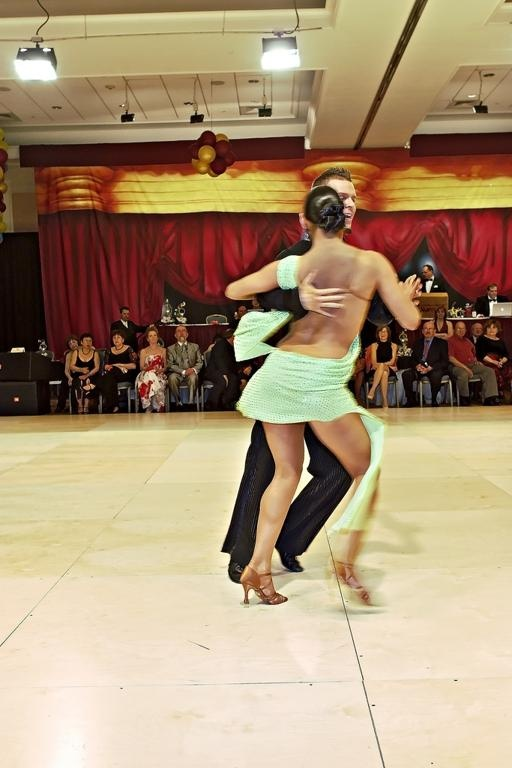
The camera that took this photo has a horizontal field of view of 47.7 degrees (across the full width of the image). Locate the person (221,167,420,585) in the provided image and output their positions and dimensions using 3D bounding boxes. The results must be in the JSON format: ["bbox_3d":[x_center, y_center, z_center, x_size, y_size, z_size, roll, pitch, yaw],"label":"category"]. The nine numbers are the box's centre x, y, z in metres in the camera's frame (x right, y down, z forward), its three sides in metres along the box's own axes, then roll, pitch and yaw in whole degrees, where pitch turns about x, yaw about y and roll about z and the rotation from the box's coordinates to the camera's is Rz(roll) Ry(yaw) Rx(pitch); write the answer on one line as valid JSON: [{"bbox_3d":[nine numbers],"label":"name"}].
[{"bbox_3d":[0.222,0.046,2.044,0.670,1.416,0.383,5,-3,-1],"label":"person"}]

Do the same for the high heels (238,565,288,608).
[{"bbox_3d":[0.010,0.691,2.016,0.231,0.169,0.092,2,-2,-26],"label":"high heels"}]

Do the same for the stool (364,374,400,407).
[{"bbox_3d":[2.229,0.098,10.240,0.606,0.715,0.607,0,3,16],"label":"stool"}]

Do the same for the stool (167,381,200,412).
[{"bbox_3d":[-1.283,0.239,10.458,0.670,0.592,0.473,0,-6,-2],"label":"stool"}]

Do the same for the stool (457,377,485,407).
[{"bbox_3d":[3.737,0.127,10.264,0.553,0.585,0.530,-2,-12,8],"label":"stool"}]

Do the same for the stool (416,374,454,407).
[{"bbox_3d":[3.162,0.095,10.200,0.542,0.867,0.638,1,7,13],"label":"stool"}]

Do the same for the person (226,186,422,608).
[{"bbox_3d":[0.218,0.052,1.988,0.650,1.439,0.326,-1,-1,13],"label":"person"}]

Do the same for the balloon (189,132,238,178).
[{"bbox_3d":[-0.804,-4.160,10.223,0.732,0.816,0.432,-1,-1,2],"label":"balloon"}]
